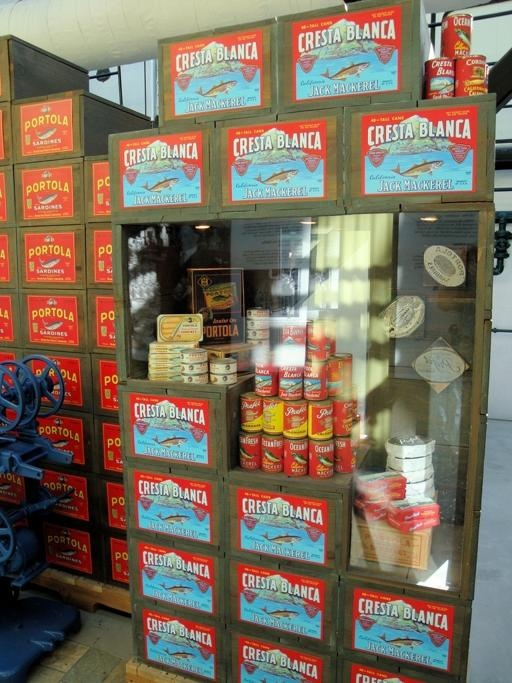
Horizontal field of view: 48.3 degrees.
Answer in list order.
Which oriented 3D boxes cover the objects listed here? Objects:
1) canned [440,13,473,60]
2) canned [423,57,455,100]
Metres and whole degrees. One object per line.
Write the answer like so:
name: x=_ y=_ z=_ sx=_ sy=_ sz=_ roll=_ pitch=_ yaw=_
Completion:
canned: x=0.671 y=-1.010 z=1.907 sx=0.093 sy=0.136 sz=0.094 roll=-3 pitch=13 yaw=-2
canned: x=0.593 y=-0.838 z=1.831 sx=0.115 sy=0.118 sz=0.111 roll=-8 pitch=20 yaw=-10
